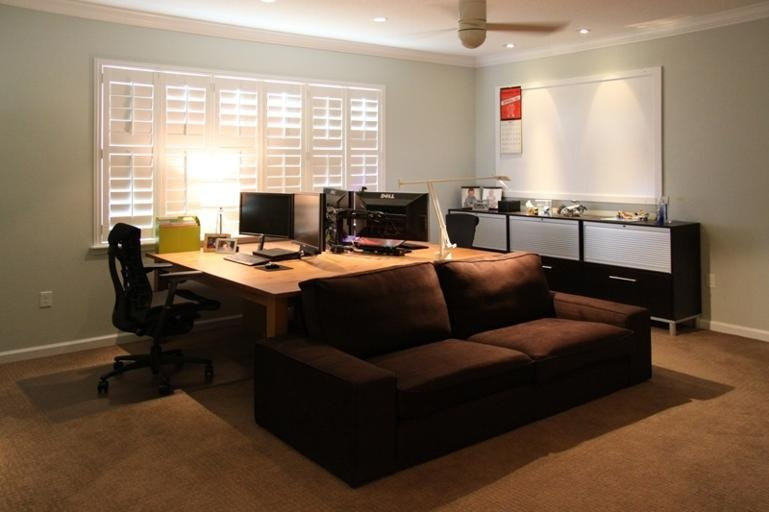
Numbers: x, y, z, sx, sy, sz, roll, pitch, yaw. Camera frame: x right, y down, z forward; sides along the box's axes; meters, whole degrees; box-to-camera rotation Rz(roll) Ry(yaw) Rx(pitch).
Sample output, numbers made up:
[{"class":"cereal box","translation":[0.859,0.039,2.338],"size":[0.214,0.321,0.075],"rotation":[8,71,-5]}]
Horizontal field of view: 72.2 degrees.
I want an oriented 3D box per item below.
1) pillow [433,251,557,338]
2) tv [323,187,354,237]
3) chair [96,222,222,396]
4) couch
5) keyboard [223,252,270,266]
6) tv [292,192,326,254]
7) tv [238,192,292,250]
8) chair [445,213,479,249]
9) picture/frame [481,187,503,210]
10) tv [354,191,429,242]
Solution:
[{"class":"pillow","translation":[0.907,0.349,4.349],"size":[0.672,0.373,0.222],"rotation":[-8,-32,-32]},{"class":"tv","translation":[-0.452,-0.401,5.167],"size":[0.181,0.461,0.508],"rotation":[0,2,-36]},{"class":"chair","translation":[-1.976,0.374,5.226],"size":[1.371,1.757,1.349],"rotation":[-2,5,-35]},{"class":"couch","translation":[0.659,0.834,4.135],"size":[3.139,0.664,1.057],"rotation":[-8,16,-27]},{"class":"keyboard","translation":[-1.248,0.038,4.828],"size":[0.133,0.024,0.319],"rotation":[-19,20,-37]},{"class":"tv","translation":[-0.676,-0.295,4.709],"size":[0.061,0.463,0.580],"rotation":[-2,4,-33]},{"class":"tv","translation":[-1.153,-0.345,5.110],"size":[0.649,0.408,0.056],"rotation":[4,3,31]},{"class":"chair","translation":[0.991,-0.276,6.109],"size":[0.383,0.529,0.405],"rotation":[1,2,26]},{"class":"picture/frame","translation":[1.470,-0.757,7.150],"size":[0.275,0.295,0.034],"rotation":[20,4,36]},{"class":"tv","translation":[0.031,-0.376,5.039],"size":[0.804,0.437,0.178],"rotation":[7,17,25]}]
